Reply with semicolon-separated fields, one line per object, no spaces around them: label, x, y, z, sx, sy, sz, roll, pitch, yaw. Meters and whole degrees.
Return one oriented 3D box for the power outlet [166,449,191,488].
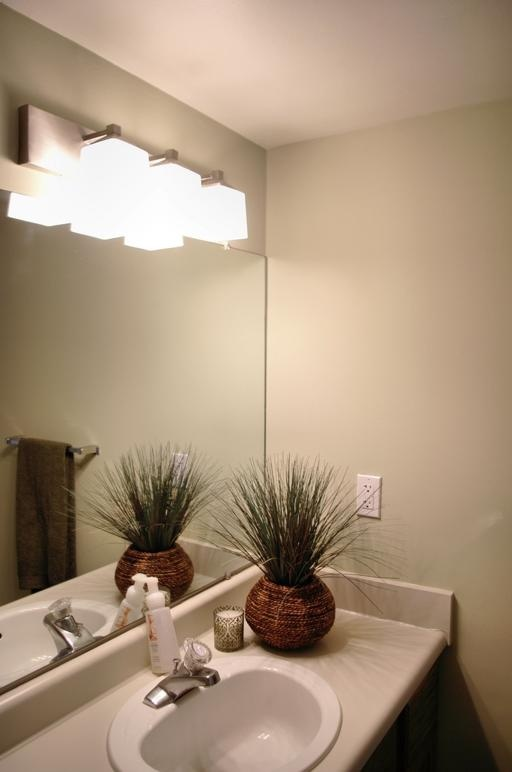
power outlet;-0.190;0.197;1.251;0.012;0.135;0.091;0;-2;25

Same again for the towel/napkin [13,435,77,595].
towel/napkin;-0.369;0.220;0.914;0.031;0.239;0.141;4;1;16

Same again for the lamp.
lamp;-0.230;-0.399;1.138;0.099;0.263;0.677;5;0;31

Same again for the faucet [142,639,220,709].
faucet;-0.147;0.530;0.989;0.069;0.066;0.130;7;3;35

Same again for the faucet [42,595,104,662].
faucet;-0.335;0.433;0.951;0.081;0.102;0.065;-8;4;45
